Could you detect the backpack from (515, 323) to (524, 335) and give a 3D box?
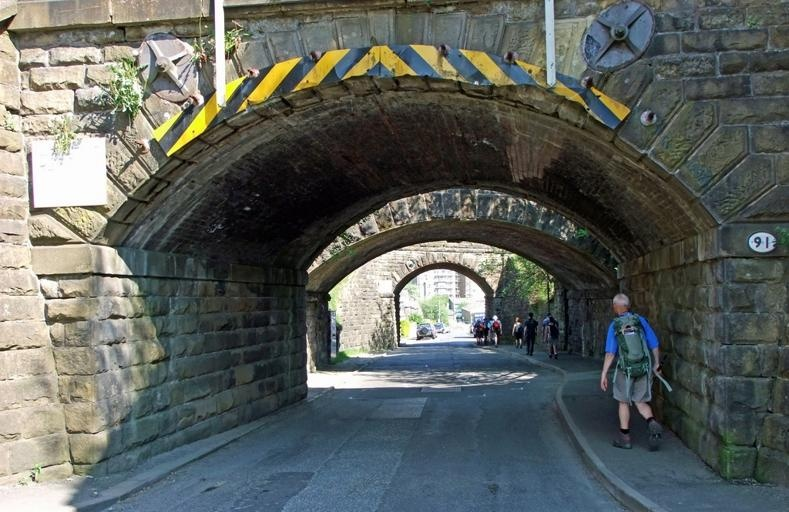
[{"bbox_3d":[6.924,4.072,30.875,0.686,0.502,0.955,-4,17,12],"label":"backpack"}]

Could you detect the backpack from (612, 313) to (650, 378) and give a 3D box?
[{"bbox_3d":[3.376,1.280,7.891,0.444,0.915,0.335,-4,-5,24],"label":"backpack"}]

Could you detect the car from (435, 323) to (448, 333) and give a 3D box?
[{"bbox_3d":[6.028,9.223,72.372,1.403,1.355,2.494,-2,-13,13],"label":"car"}]

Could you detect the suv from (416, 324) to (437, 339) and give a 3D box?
[{"bbox_3d":[3.416,8.166,60.206,1.411,1.750,2.767,-4,-6,18],"label":"suv"}]

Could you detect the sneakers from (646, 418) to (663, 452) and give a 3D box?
[{"bbox_3d":[3.617,2.485,7.659,0.200,0.257,0.609,0,-44,8],"label":"sneakers"}]

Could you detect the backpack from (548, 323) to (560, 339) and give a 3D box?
[{"bbox_3d":[6.453,3.050,22.680,0.344,0.644,0.650,-3,-5,10],"label":"backpack"}]
